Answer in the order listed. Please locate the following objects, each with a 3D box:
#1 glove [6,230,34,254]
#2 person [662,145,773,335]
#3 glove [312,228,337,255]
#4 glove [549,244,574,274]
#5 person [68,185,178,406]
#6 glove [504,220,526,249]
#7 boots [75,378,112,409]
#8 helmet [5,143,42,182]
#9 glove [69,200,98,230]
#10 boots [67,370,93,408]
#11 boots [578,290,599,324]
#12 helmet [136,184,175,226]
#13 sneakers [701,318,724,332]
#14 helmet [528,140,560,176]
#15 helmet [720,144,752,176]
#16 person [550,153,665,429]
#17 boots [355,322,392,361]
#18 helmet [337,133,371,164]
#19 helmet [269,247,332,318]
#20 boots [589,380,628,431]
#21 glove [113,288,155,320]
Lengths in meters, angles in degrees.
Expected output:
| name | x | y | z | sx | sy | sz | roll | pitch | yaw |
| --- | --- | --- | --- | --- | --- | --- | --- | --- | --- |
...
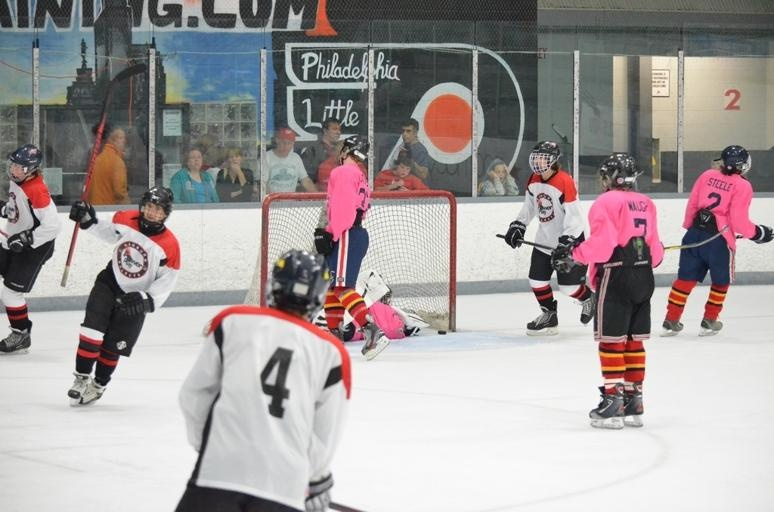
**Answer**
| name | x | y | z | sx | sy | sz | roll | pitch | yaw |
| --- | --- | --- | --- | --- | --- | --- | --- | --- | --- |
| glove | -3.295 | -0.139 | 9.978 | 0.220 | 0.178 | 0.112 | -5 | 15 | -18 |
| person | 3.218 | -0.143 | 10.790 | 0.900 | 1.838 | 0.502 | 3 | 15 | 13 |
| glove | -0.565 | -0.124 | 10.127 | 0.218 | 0.225 | 0.081 | 14 | 24 | 31 |
| glove | 1.489 | 0.025 | 9.236 | 0.171 | 0.249 | 0.074 | -2 | 3 | 33 |
| person | -2.083 | 0.334 | 8.761 | 0.893 | 1.711 | 0.410 | -2 | 14 | -8 |
| glove | 1.269 | -0.213 | 10.848 | 0.173 | 0.291 | 0.115 | 21 | -26 | 5 |
| boots | -2.369 | 1.096 | 8.857 | 0.115 | 0.157 | 0.349 | 16 | 13 | 23 |
| helmet | -3.226 | -0.815 | 9.898 | 0.259 | 0.324 | 0.223 | -8 | 16 | -28 |
| glove | -2.436 | -0.325 | 8.934 | 0.188 | 0.241 | 0.175 | -15 | 12 | -7 |
| boots | -2.456 | 1.068 | 8.851 | 0.116 | 0.326 | 0.145 | 14 | -24 | -9 |
| boots | 2.014 | 0.500 | 11.109 | 0.122 | 0.233 | 0.387 | 4 | 28 | 27 |
| helmet | -1.819 | -0.367 | 8.813 | 0.237 | 0.304 | 0.300 | 16 | -27 | -4 |
| sneakers | 3.205 | 0.682 | 10.954 | 0.221 | 0.156 | 0.097 | -5 | 3 | -29 |
| helmet | 1.540 | -0.970 | 10.732 | 0.291 | 0.313 | 0.332 | -6 | -11 | 44 |
| helmet | 3.378 | -0.943 | 10.708 | 0.331 | 0.322 | 0.271 | -8 | 15 | -34 |
| person | 1.794 | 0.262 | 8.616 | 0.600 | 2.032 | 0.733 | 8 | 17 | 30 |
| boots | -0.123 | 0.748 | 9.909 | 0.130 | 0.280 | 0.382 | -10 | -25 | -48 |
| helmet | -0.295 | -1.024 | 10.305 | 0.287 | 0.279 | 0.262 | 21 | 16 | 30 |
| helmet | -0.460 | 0.126 | 6.696 | 0.334 | 0.404 | 0.403 | 13 | 23 | -8 |
| boots | 1.732 | 1.170 | 8.788 | 0.398 | 0.501 | 0.197 | 1 | -1 | 11 |
| glove | -1.966 | 0.364 | 8.630 | 0.240 | 0.182 | 0.095 | 2 | 14 | 1 |
